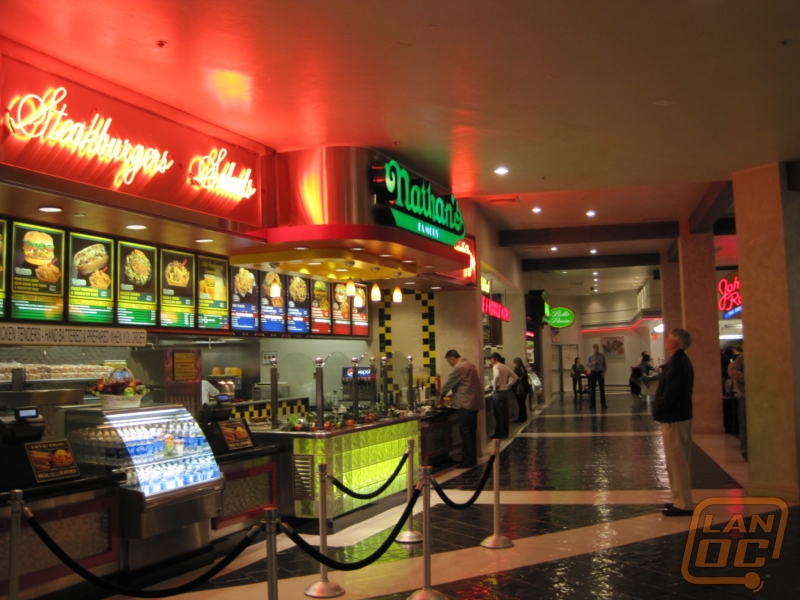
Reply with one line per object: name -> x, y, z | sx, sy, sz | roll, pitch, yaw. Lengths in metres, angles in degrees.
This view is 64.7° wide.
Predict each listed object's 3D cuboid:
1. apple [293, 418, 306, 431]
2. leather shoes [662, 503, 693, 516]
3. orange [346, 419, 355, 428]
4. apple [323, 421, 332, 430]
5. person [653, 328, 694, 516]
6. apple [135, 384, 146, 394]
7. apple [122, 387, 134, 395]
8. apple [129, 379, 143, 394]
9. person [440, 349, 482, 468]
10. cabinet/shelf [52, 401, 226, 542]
apple -> -1.031, 1.286, 6.521 | 0.095, 0.067, 0.102 | -1, 0, 2
leather shoes -> 2.793, 2.108, 6.351 | 0.284, 0.102, 0.139 | -5, -6, 22
orange -> -0.537, 1.330, 6.785 | 0.076, 0.054, 0.075 | 0, -8, 8
apple -> -0.747, 1.295, 6.512 | 0.065, 0.114, 0.063 | -1, 2, -5
person -> 2.829, 1.230, 6.490 | 0.387, 1.866, 0.514 | -6, -7, 28
apple -> -2.174, 0.744, 5.282 | 0.065, 0.040, 0.073 | 16, 15, -3
apple -> -2.240, 0.750, 5.204 | 0.059, 0.057, 0.058 | 0, 0, -7
apple -> -2.206, 0.725, 5.279 | 0.052, 0.118, 0.123 | -8, -7, 38
person -> 0.943, 1.608, 9.578 | 0.630, 1.708, 0.662 | -4, -6, 6
cabinet/shelf -> -2.182, 1.380, 5.305 | 1.181, 0.930, 0.932 | 0, -1, 24
